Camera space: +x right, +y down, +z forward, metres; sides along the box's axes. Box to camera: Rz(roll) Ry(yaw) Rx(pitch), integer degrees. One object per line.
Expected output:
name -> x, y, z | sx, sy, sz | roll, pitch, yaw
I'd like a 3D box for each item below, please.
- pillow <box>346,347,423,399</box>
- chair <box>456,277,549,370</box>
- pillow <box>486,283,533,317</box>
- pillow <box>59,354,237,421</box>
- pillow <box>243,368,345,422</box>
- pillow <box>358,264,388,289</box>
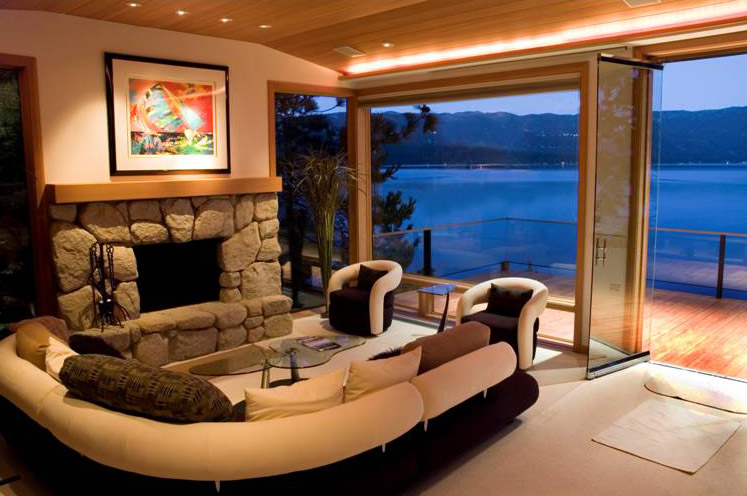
pillow -> 0.079, 0.999, 3.864 | 0.647, 0.316, 0.178 | -1, 15, -29
chair -> 1.670, 0.894, 6.263 | 1.058, 0.862, 0.950 | 10, 19, 39
pillow -> 1.728, 0.705, 6.215 | 0.542, 0.350, 0.193 | 10, -16, 42
pillow -> -1.547, 0.975, 3.581 | 1.283, 0.390, 0.345 | 8, -2, 16
pillow -> -0.546, 1.064, 3.566 | 0.739, 0.247, 0.298 | -3, 10, -16
pillow -> -0.015, 0.439, 7.345 | 0.373, 0.321, 0.110 | 15, -9, 33
